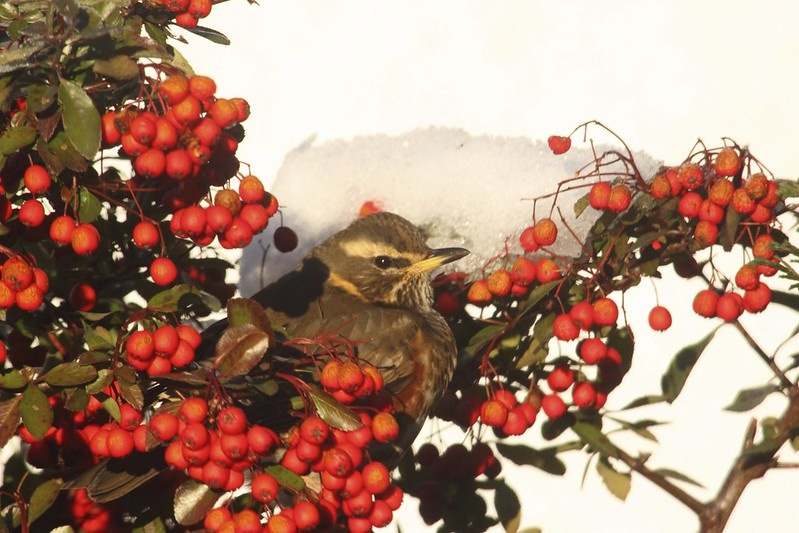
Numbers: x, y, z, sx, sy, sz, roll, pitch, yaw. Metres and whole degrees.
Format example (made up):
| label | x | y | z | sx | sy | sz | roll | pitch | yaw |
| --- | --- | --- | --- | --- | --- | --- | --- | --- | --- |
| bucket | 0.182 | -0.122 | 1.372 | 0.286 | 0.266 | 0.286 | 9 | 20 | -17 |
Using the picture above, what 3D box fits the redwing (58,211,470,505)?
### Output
| label | x | y | z | sx | sy | sz | roll | pitch | yaw |
| --- | --- | --- | --- | --- | --- | --- | --- | --- | --- |
| redwing | -0.474 | 0.259 | 3.938 | 1.379 | 0.731 | 1.133 | -6 | -85 | -11 |
